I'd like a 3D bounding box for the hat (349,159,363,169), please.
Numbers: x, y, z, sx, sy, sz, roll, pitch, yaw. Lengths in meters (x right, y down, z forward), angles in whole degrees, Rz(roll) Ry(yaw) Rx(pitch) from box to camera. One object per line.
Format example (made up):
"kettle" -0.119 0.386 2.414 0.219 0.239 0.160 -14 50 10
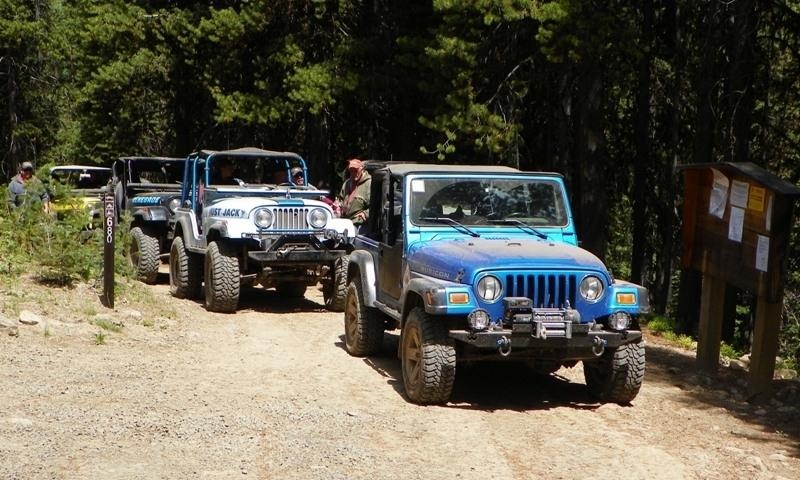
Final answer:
"hat" -0.962 -1.710 18.337 0.223 0.204 0.376 3 -2 2

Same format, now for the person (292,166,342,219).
"person" -2.024 -1.132 19.015 0.735 0.737 1.388 -1 4 -22

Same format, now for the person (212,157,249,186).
"person" -3.951 -1.525 18.801 0.691 0.736 0.157 1 1 -43
